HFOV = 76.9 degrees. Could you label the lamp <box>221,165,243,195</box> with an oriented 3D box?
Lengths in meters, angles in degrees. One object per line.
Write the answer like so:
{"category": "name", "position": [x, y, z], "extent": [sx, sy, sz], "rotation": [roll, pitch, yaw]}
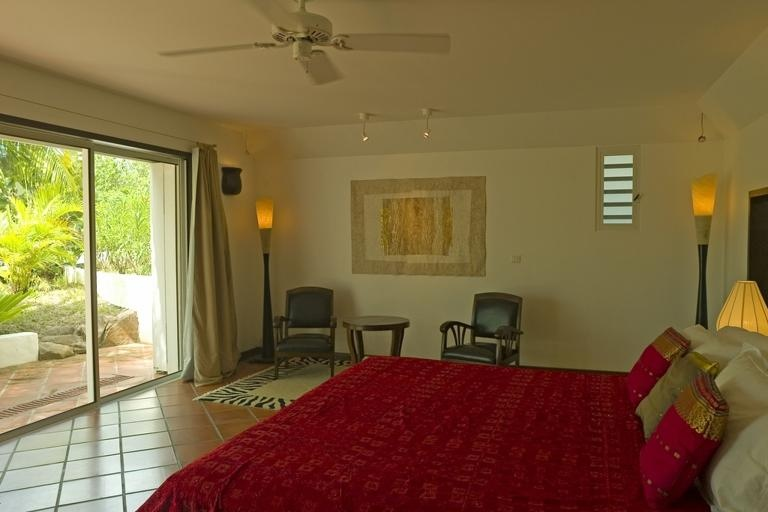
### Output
{"category": "lamp", "position": [-1.995, -0.973, 6.279], "extent": [0.286, 0.387, 0.163], "rotation": [-10, 16, -35]}

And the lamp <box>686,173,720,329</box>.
{"category": "lamp", "position": [3.342, -0.040, 5.097], "extent": [0.302, 1.613, 0.817], "rotation": [8, 16, 32]}
